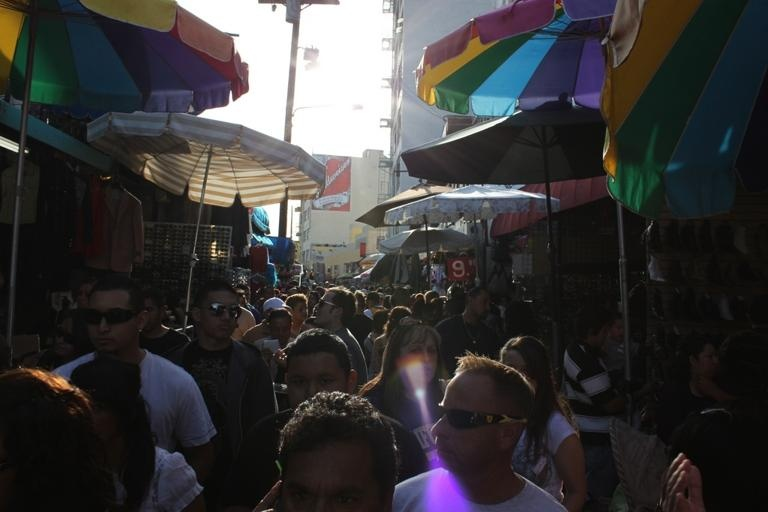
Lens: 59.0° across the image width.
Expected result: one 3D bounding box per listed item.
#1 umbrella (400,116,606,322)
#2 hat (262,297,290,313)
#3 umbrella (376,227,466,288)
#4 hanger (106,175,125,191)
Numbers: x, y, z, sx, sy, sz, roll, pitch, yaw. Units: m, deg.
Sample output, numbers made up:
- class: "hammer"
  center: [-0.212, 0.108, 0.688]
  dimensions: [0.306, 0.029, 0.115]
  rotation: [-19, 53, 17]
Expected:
- class: "umbrella"
  center: [1.932, -0.461, 10.709]
  dimensions: [3.129, 3.051, 3.369]
  rotation: [-4, -19, 10]
- class: "hat"
  center: [-1.677, 0.764, 10.527]
  dimensions: [0.365, 0.226, 0.279]
  rotation: [-12, -5, 22]
- class: "umbrella"
  center: [0.920, -0.160, 16.693]
  dimensions: [1.729, 1.213, 1.792]
  rotation: [-5, -15, 10]
- class: "hanger"
  center: [-3.885, -1.053, 9.819]
  dimensions: [0.207, 0.322, 0.139]
  rotation: [0, -26, -33]
